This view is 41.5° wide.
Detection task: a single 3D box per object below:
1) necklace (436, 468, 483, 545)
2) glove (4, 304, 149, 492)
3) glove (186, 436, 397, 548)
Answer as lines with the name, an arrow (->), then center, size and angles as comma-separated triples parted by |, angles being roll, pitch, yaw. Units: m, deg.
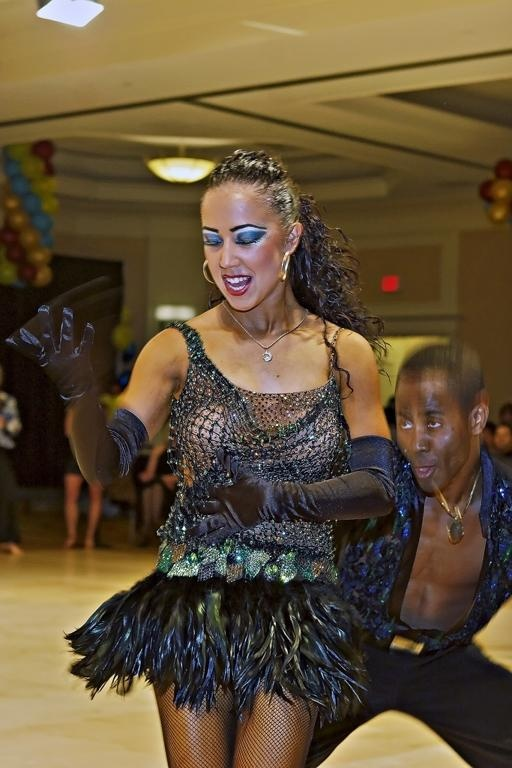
necklace -> 0.470, 0.305, 1.635 | 0.080, 0.187, 0.147 | -1, -2, 41
glove -> -0.283, 0.025, 1.136 | 0.115, 0.298, 0.281 | -1, -2, 27
glove -> 0.085, 0.192, 1.162 | 0.411, 0.116, 0.137 | -18, 39, 1
